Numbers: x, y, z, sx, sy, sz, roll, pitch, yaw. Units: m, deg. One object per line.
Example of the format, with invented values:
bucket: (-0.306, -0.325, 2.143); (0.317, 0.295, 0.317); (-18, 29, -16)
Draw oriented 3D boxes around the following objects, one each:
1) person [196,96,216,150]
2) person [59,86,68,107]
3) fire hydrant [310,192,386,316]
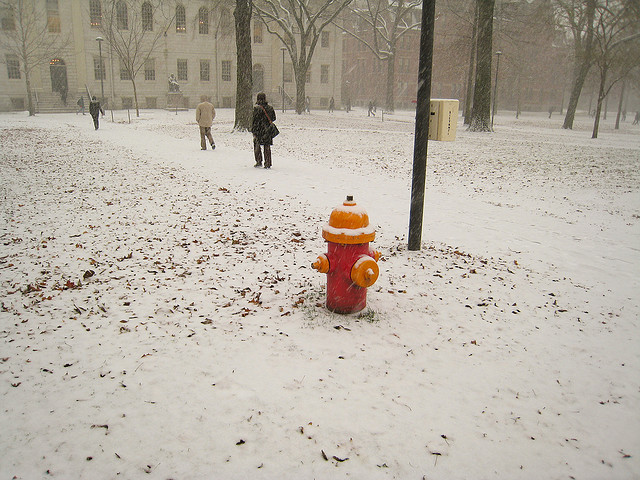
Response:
person: (-3.944, -4.104, 19.381); (0.613, 1.774, 2.231); (-2, 18, -11)
person: (-19.998, -11.117, 43.868); (0.414, 1.517, 1.251); (-6, 18, -23)
fire hydrant: (0.382, 0.226, 7.695); (0.819, 1.637, 0.477); (3, 15, 7)
